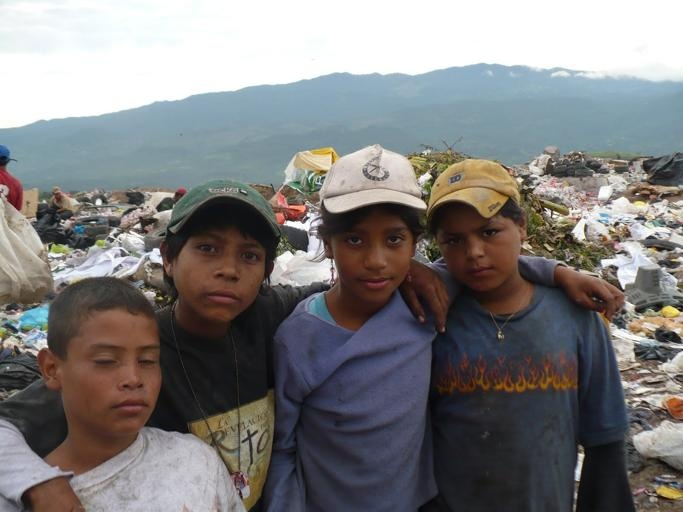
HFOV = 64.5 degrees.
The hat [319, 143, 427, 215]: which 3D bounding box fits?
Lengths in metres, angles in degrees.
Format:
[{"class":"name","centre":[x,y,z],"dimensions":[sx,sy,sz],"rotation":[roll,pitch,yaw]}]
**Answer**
[{"class":"hat","centre":[0.134,-0.289,2.246],"dimensions":[0.332,0.204,0.393],"rotation":[-1,1,-13]}]

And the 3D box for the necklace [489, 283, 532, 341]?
[{"class":"necklace","centre":[0.681,0.250,2.186],"dimensions":[0.171,0.157,0.087],"rotation":[3,0,7]}]

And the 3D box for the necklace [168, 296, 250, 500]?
[{"class":"necklace","centre":[-0.558,0.609,2.266],"dimensions":[0.265,0.865,0.049],"rotation":[-8,-6,-38]}]

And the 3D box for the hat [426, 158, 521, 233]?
[{"class":"hat","centre":[0.548,-0.259,2.273],"dimensions":[0.274,0.176,0.367],"rotation":[-6,-4,33]}]
